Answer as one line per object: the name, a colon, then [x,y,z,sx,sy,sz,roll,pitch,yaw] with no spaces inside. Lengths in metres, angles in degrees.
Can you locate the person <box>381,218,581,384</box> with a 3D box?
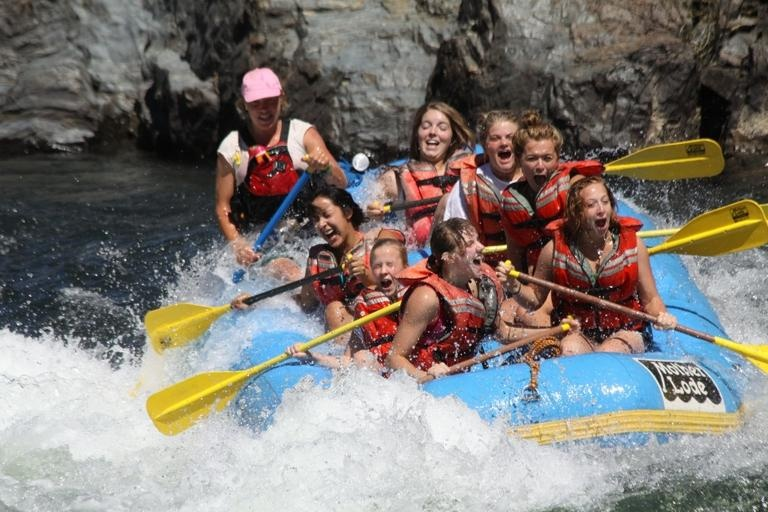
person: [0.813,0.411,7.025,0.722,1.154,0.771,16,34,33]

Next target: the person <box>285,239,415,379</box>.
person: [-0.084,0.457,7.235,1.196,0.850,1.294,-8,72,37]

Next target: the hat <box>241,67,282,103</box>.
hat: [-1.189,-1.637,8.293,0.373,0.290,0.306,-9,38,-8]

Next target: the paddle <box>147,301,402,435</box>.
paddle: [-0.895,0.967,7.207,2.334,0.105,0.350,-27,75,14]

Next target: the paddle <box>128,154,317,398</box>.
paddle: [-1.541,0.242,8.350,2.720,0.679,0.195,-38,12,12]

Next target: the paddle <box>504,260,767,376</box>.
paddle: [2.037,0.546,7.223,1.777,0.334,0.268,20,37,12]
